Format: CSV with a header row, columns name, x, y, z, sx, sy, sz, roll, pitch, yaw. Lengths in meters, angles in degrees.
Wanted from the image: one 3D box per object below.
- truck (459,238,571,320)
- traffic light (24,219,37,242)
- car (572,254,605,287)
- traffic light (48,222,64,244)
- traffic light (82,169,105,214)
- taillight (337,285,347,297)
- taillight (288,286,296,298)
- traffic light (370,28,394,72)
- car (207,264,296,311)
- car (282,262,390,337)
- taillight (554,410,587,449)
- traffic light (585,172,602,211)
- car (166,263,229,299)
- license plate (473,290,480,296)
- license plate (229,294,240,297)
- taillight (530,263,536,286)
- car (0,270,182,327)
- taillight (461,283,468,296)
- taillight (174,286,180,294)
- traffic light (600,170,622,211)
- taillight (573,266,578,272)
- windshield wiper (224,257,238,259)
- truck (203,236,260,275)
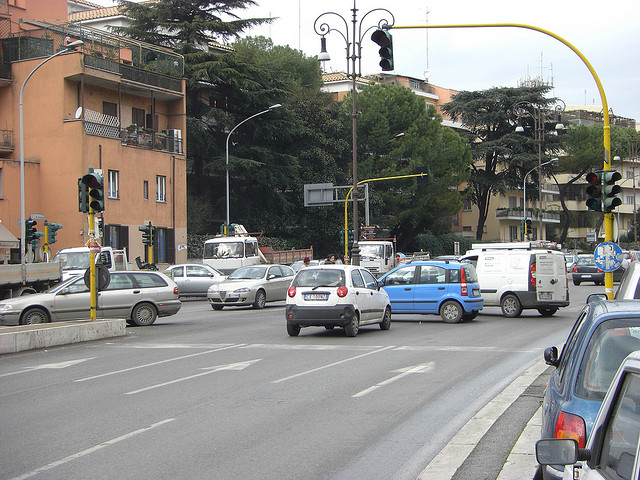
name,x,y,z,sx,sy,sz,roll,pitch,yaw
truck,6.153,0.945,27.436,2.370,2.293,4.071,-1,6,-41
traffic light,-12.219,-0.399,35.117,0.451,0.945,1.503,-1,2,-20
car,15.747,1.852,48.971,1.724,1.837,3.127,1,2,17
traffic light,-11.784,-0.319,36.929,0.457,0.800,1.100,0,2,-14
traffic light,-6.048,-1.273,22.230,0.502,1.104,0.648,0,2,-10
taillight,0.537,1.261,20.488,0.228,0.263,0.039,2,-1,27
taillight,-0.706,1.284,20.802,0.292,0.278,0.141,1,2,30
traffic light,1.588,-4.707,20.557,0.605,1.160,0.601,-3,-2,-21
car,-2.374,1.746,32.091,1.565,1.341,3.676,-2,-4,24
car,0.638,1.469,21.650,1.429,1.290,2.683,-2,1,20
taillight,2.224,1.681,7.397,0.190,0.280,0.274,1,1,26
traffic light,6.399,-1.170,19.450,0.358,0.873,0.654,1,2,18
car,-5.409,1.762,36.592,2.239,1.198,1.330,-2,3,-3
license plate,4.631,1.559,24.773,0.158,0.161,0.041,7,-13,-44
license plate,-3.141,2.032,30.592,0.369,0.099,0.024,0,2,-15
taillight,6.666,1.064,26.093,0.176,0.706,0.114,1,2,14
car,-6.580,1.732,24.098,4.669,1.674,2.024,5,-6,-38
taillight,4.214,1.438,24.383,0.252,0.546,0.273,-1,-1,9
taillight,-4.324,1.507,25.136,0.136,0.139,0.255,0,9,4
traffic light,6.738,-1.185,19.295,0.416,0.972,1.090,1,2,19
taillight,15.135,1.695,49.402,0.279,0.283,0.521,1,6,13
windshield wiper,-4.380,0.866,41.197,0.590,0.060,0.049,1,2,16
truck,-4.465,1.060,43.350,2.394,2.643,4.345,-1,1,5
